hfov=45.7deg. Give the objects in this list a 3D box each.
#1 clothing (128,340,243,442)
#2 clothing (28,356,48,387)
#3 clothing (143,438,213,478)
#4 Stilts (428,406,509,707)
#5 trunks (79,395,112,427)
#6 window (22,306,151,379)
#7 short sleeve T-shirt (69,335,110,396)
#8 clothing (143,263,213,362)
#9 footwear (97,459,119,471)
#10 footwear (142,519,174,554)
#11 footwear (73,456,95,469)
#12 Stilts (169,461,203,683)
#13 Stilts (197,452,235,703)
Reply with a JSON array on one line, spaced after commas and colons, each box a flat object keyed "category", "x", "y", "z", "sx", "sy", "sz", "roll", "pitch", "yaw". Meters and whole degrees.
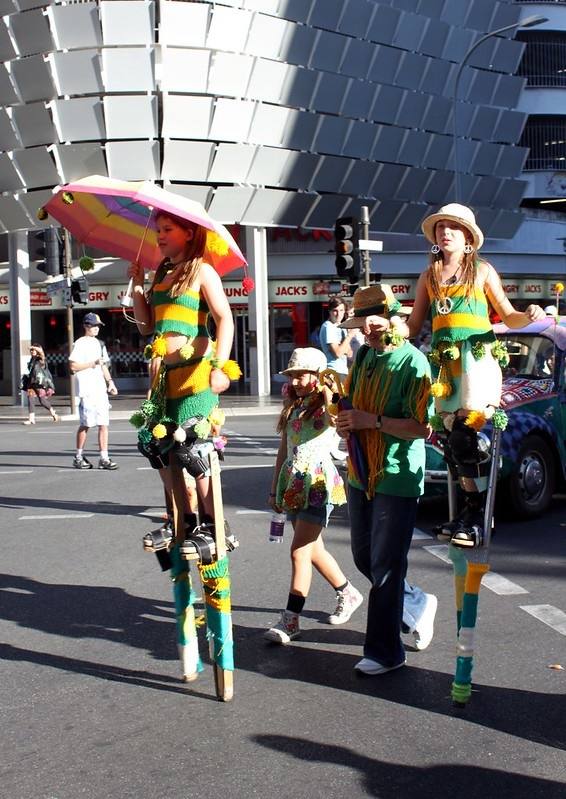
[{"category": "clothing", "x": -0.458, "y": -0.032, "z": 3.046, "sx": 0.411, "sy": 0.506, "sz": 0.258, "roll": 4, "pitch": 9, "yaw": 24}, {"category": "clothing", "x": -7.042, "y": -0.756, "z": 19.409, "sx": 0.387, "sy": 0.888, "sz": 0.614, "roll": -3, "pitch": -3, "yaw": 30}, {"category": "clothing", "x": -0.473, "y": 0.250, "z": 2.964, "sx": 0.246, "sy": 0.087, "sz": 0.188, "roll": 6, "pitch": -5, "yaw": -16}, {"category": "Stilts", "x": 0.827, "y": 0.646, "z": 2.858, "sx": 0.258, "sy": 1.186, "sz": 0.567, "roll": -2, "pitch": -2, "yaw": 14}, {"category": "trunks", "x": -2.988, "y": 0.187, "z": 10.658, "sx": 0.438, "sy": 0.502, "sz": 0.312, "roll": -1, "pitch": -2, "yaw": -17}, {"category": "window", "x": -6.680, "y": -1.931, "z": 23.015, "sx": 4.592, "sy": 2.408, "sz": 0.091, "roll": -1, "pitch": 0, "yaw": 4}, {"category": "short sleeve T-shirt", "x": -3.101, "y": -0.527, "z": 10.780, "sx": 0.584, "sy": 1.016, "sz": 0.444, "roll": 0, "pitch": -3, "yaw": -23}, {"category": "clothing", "x": -0.499, "y": -0.393, "z": 3.140, "sx": 0.361, "sy": 0.448, "sz": 0.273, "roll": -9, "pitch": -10, "yaw": 36}, {"category": "footwear", "x": -2.880, "y": 1.057, "z": 10.994, "sx": 0.368, "sy": 0.152, "sz": 0.140, "roll": 2, "pitch": 4, "yaw": 20}, {"category": "footwear", "x": -0.559, "y": 0.630, "z": 3.086, "sx": 0.109, "sy": 0.061, "sz": 0.167, "roll": 7, "pitch": 21, "yaw": 31}, {"category": "footwear", "x": -3.293, "y": 1.052, "z": 11.122, "sx": 0.156, "sy": 0.164, "sz": 0.392, "roll": -4, "pitch": 4, "yaw": -45}, {"category": "Stilts", "x": -0.464, "y": 0.805, "z": 3.119, "sx": 0.141, "sy": 0.936, "sz": 0.118, "roll": -6, "pitch": 0, "yaw": 38}, {"category": "Stilts", "x": -0.295, "y": 0.743, "z": 2.933, "sx": 0.143, "sy": 1.045, "sz": 0.292, "roll": -1, "pitch": -2, "yaw": -5}]
